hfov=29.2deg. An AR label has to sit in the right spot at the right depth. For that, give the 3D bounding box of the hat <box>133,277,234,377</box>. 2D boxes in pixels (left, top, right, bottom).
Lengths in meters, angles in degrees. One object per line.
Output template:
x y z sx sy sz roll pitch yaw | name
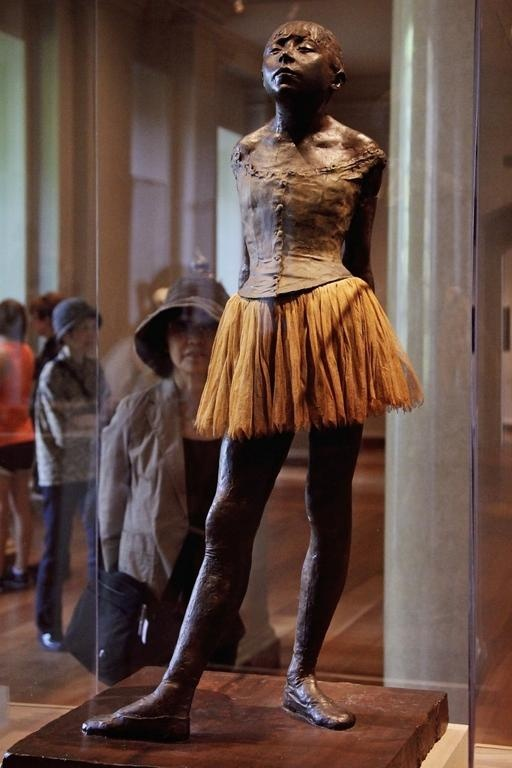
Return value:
-0.168 -0.101 1.747 0.155 0.137 0.219 20 -11 -10 | hat
